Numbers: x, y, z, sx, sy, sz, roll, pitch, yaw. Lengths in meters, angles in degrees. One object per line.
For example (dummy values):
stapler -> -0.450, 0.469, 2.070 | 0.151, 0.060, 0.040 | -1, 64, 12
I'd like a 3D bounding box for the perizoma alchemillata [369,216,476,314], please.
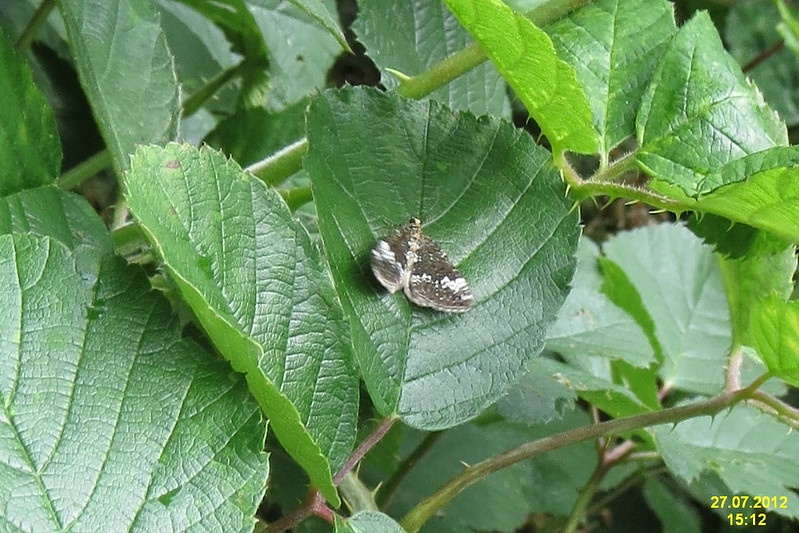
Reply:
perizoma alchemillata -> 0.031, -0.002, 1.239 | 0.173, 0.125, 0.049 | 13, 4, 15
